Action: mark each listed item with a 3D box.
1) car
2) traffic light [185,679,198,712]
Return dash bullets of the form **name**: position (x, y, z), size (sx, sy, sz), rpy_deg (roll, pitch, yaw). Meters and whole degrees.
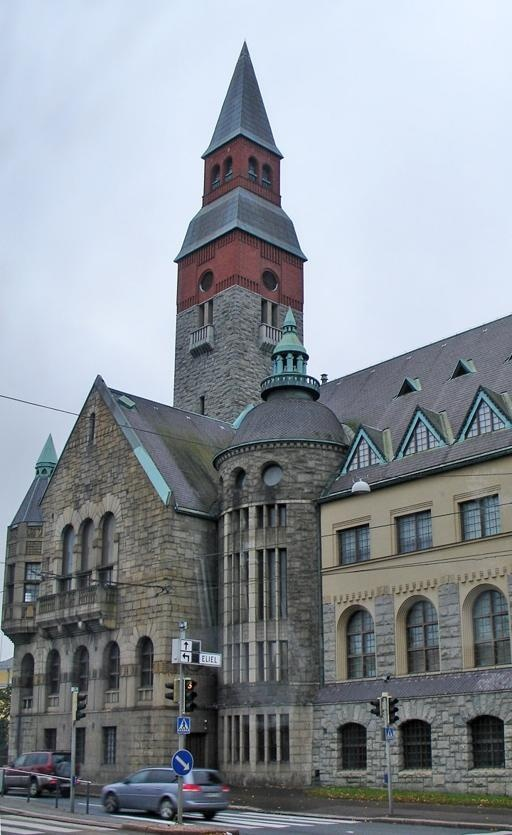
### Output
- **car**: position (-2.449, 10.097, 25.650), size (1.576, 1.334, 3.400), rpy_deg (16, -28, -38)
- **traffic light**: position (-1.550, 6.552, 22.555), size (0.252, 0.735, 0.943), rpy_deg (1, -22, -7)
